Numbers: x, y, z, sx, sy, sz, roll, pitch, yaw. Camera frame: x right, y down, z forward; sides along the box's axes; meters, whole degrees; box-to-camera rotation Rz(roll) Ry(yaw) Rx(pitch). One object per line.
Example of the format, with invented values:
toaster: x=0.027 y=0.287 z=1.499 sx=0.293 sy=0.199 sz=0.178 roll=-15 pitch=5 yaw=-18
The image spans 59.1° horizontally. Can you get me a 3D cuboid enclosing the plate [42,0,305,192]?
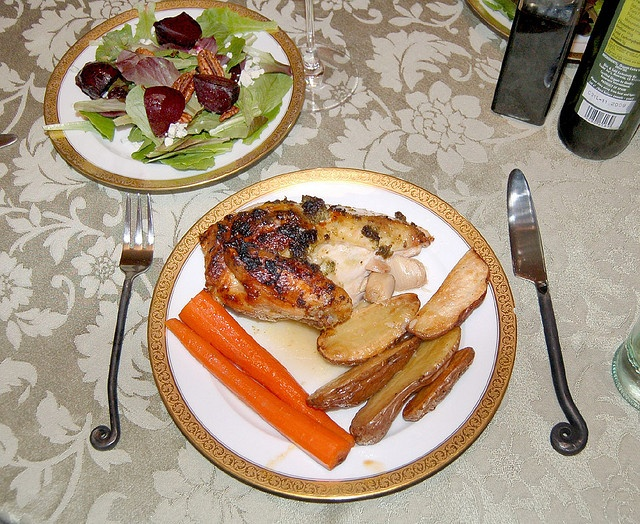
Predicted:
plate: x=-0.598 y=-0.711 z=2.667 sx=1.078 sy=0.156 sz=1.120 roll=-30 pitch=65 yaw=-19
